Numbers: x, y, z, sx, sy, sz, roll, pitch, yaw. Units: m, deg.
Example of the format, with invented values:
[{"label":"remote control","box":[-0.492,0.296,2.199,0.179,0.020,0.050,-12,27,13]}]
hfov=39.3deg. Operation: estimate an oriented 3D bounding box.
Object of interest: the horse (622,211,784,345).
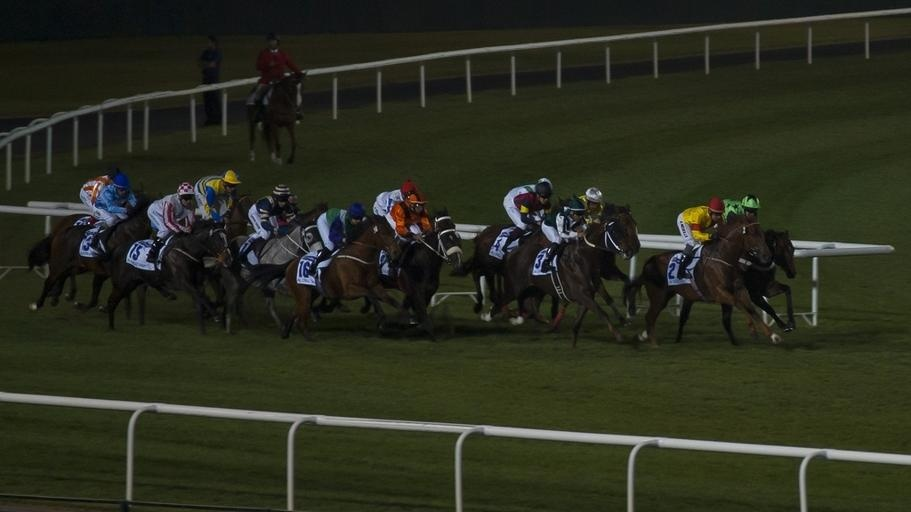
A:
[{"label":"horse","box":[3.890,0.439,20.400,0.962,1.994,3.744,1,-3,-26]}]

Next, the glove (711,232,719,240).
[{"label":"glove","box":[4.072,-0.314,19.686,0.154,0.136,0.015,-3,-2,41]}]

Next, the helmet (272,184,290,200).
[{"label":"helmet","box":[-2.824,-1.041,20.704,0.243,0.243,0.217,-1,-2,-14]}]

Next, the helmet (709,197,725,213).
[{"label":"helmet","box":[4.088,-0.775,19.866,0.288,0.265,0.236,2,-41,2]}]

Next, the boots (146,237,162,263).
[{"label":"boots","box":[-4.799,-0.094,20.344,0.207,0.384,0.163,9,5,-25]}]

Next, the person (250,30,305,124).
[{"label":"person","box":[-3.618,-3.677,25.822,0.976,1.794,1.090,-1,-2,-21]}]

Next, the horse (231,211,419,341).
[{"label":"horse","box":[-2.143,0.413,20.572,3.688,1.749,0.956,-4,-2,43]}]

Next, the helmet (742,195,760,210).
[{"label":"helmet","box":[4.570,-0.802,19.656,0.342,0.122,0.383,2,18,-4]}]

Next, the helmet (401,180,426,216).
[{"label":"helmet","box":[-0.639,-0.924,19.916,0.354,0.521,0.247,-2,-2,-2]}]

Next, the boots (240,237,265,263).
[{"label":"boots","box":[-3.288,-0.095,20.599,0.375,0.419,0.172,26,-14,-24]}]
